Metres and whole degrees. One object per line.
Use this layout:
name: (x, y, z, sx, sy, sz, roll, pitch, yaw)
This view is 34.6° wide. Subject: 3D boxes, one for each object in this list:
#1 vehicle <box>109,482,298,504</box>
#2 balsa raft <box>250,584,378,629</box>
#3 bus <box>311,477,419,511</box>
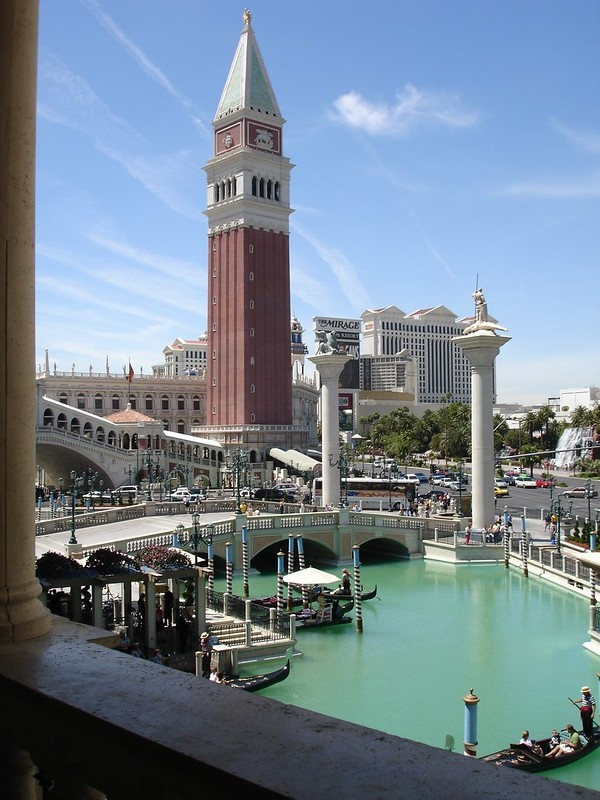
vehicle: (-5.506, 5.661, 57.533, 11.429, 0.789, 10.752, 1, -4, -17)
balsa raft: (0.766, 6.893, 32.267, 2.048, 0.796, 2.718, 0, -6, -16)
bus: (3.561, 6.066, 59.091, 7.978, 2.598, 2.423, 0, -2, 3)
